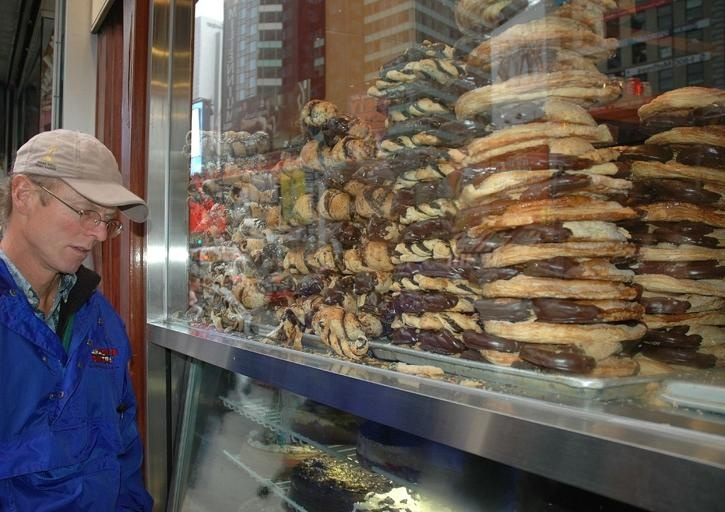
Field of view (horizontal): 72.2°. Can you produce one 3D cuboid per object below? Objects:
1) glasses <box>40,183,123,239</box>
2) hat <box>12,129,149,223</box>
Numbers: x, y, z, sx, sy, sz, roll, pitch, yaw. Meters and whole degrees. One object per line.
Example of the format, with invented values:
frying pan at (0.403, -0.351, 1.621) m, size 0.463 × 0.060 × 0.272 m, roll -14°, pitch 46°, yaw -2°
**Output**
glasses at (-0.956, -0.158, 1.679) m, size 0.189 × 0.049 × 0.171 m, roll 26°, pitch 0°, yaw 14°
hat at (-0.949, -0.323, 1.725) m, size 0.449 × 0.189 × 0.292 m, roll 21°, pitch 18°, yaw 14°
